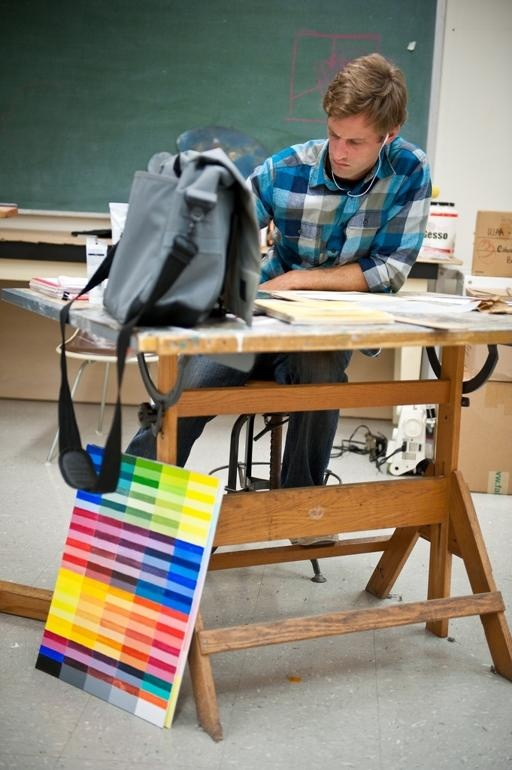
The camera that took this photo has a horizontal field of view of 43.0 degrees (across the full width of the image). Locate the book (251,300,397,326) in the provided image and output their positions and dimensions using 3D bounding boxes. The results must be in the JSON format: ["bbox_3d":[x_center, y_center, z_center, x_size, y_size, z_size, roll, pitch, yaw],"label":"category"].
[{"bbox_3d":[0.085,-0.111,0.977,0.182,0.030,0.329,1,8,-11],"label":"book"}]

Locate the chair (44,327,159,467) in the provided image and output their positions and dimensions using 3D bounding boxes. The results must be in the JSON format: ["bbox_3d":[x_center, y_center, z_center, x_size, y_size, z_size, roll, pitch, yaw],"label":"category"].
[{"bbox_3d":[-0.577,-0.073,2.542,0.363,0.587,0.430,5,-7,-21],"label":"chair"}]

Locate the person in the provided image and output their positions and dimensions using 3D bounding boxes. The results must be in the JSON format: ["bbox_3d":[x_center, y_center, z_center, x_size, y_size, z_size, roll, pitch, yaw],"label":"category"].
[{"bbox_3d":[0.108,-0.211,1.574,0.418,1.030,0.592,10,12,27],"label":"person"}]

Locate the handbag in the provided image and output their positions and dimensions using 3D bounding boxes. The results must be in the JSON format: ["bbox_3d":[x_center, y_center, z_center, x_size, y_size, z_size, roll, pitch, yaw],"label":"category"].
[{"bbox_3d":[-0.149,-0.073,0.912,0.222,0.501,0.296,-1,9,-25],"label":"handbag"}]
